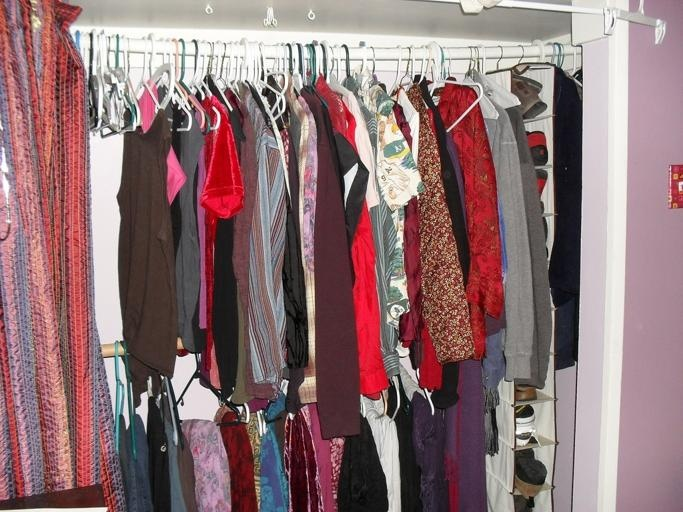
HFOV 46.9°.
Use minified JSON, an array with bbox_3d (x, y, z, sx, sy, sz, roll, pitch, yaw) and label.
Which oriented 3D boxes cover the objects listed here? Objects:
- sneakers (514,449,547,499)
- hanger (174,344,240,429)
[{"bbox_3d":[0.759,0.871,3.177,0.120,0.077,0.189,-7,34,-4],"label":"sneakers"},{"bbox_3d":[-0.562,0.531,3.290,0.203,0.393,0.265,1,1,-2],"label":"hanger"}]
